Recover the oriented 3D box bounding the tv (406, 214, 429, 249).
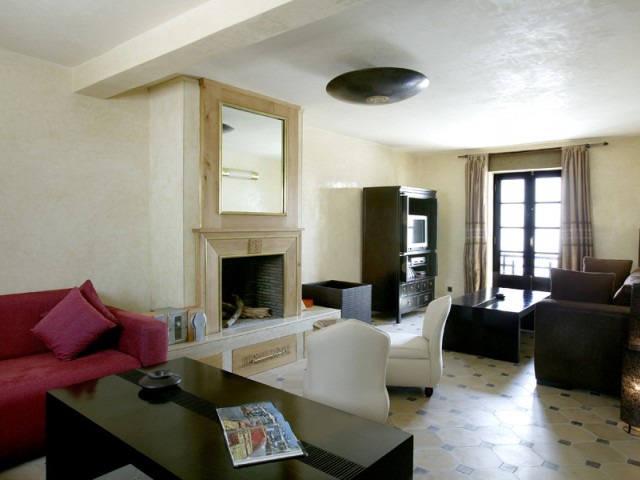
[{"bbox_3d":[1.413,-0.120,7.539,0.325,0.526,0.615,0,1,40],"label":"tv"}]

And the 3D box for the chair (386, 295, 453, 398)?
[{"bbox_3d":[0.877,0.985,4.549,0.787,0.837,0.641,0,2,8],"label":"chair"}]

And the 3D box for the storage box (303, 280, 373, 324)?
[{"bbox_3d":[0.231,0.699,6.162,0.644,0.619,0.622,-2,4,-39],"label":"storage box"}]

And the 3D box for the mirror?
[{"bbox_3d":[-0.700,-0.824,4.990,0.133,1.092,0.899,9,11,44],"label":"mirror"}]

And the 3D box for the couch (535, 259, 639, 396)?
[{"bbox_3d":[2.719,0.851,4.951,0.923,1.223,1.741,0,-1,30],"label":"couch"}]

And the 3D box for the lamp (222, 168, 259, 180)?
[{"bbox_3d":[-0.813,-0.674,4.888,0.073,0.123,0.449,7,10,37],"label":"lamp"}]
